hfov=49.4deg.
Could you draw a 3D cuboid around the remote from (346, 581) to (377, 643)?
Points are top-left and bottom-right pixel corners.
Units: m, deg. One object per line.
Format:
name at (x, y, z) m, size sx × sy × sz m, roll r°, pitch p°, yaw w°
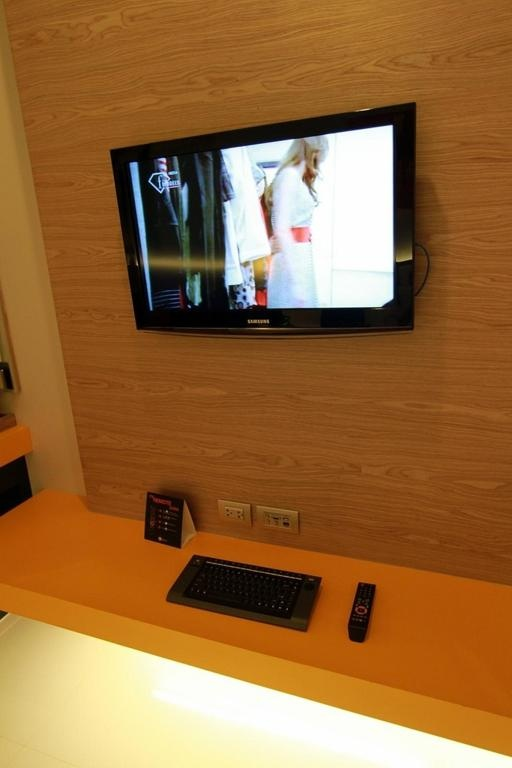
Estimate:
remote at (0.260, 0.558, 1.364) m, size 0.047 × 0.047 × 0.201 m, roll 3°, pitch 9°, yaw 17°
